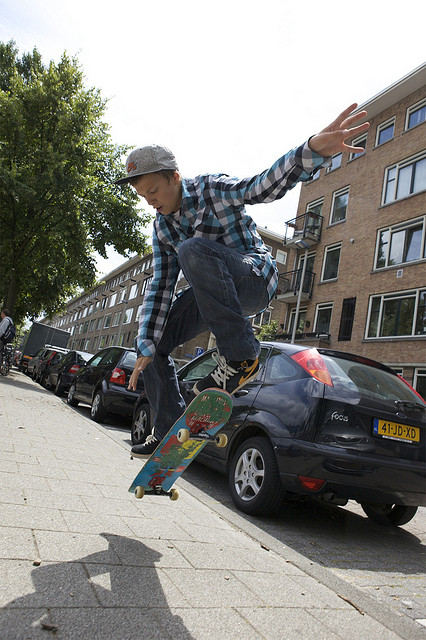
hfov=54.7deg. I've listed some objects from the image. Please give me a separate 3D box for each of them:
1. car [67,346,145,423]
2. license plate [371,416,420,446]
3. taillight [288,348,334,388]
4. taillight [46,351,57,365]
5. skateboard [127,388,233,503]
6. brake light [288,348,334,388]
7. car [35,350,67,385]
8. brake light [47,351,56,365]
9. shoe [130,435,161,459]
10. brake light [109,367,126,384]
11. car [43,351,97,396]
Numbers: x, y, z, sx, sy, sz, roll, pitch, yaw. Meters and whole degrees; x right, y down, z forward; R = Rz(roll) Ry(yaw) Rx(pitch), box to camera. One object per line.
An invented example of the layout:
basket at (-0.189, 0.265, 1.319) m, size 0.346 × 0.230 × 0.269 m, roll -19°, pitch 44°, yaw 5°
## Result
car at (-2.220, 1.410, 9.452) m, size 1.538 × 1.512 × 3.505 m, roll 16°, pitch -11°, yaw -29°
license plate at (1.499, 0.913, 3.385) m, size 0.547 × 0.215 × 0.072 m, roll 25°, pitch -14°, yaw -27°
taillight at (0.851, 0.388, 3.586) m, size 0.207 × 0.241 × 0.301 m, roll -4°, pitch -3°, yaw -33°
taillight at (-6.206, 1.404, 15.850) m, size 0.152 × 0.620 × 0.083 m, roll 31°, pitch -47°, yaw -5°
skateboard at (-0.188, 0.688, 2.228) m, size 0.232 × 0.863 × 0.144 m, roll 32°, pitch 22°, yaw -11°
brake light at (0.878, 0.409, 3.708) m, size 0.169 × 0.173 × 0.668 m, roll 19°, pitch 0°, yaw -16°
car at (-6.147, 1.756, 15.913) m, size 1.252 × 1.152 × 2.621 m, roll -1°, pitch -5°, yaw -27°
brake light at (-6.201, 1.404, 15.877) m, size 0.135 × 0.526 × 0.074 m, roll 7°, pitch -46°, yaw 28°
shoe at (-0.465, 0.778, 2.574) m, size 0.248 × 0.106 × 0.083 m, roll 9°, pitch -12°, yaw 34°
brake light at (-1.786, 1.054, 7.841) m, size 0.296 × 0.220 × 0.184 m, roll 18°, pitch -13°, yaw 3°
car at (-4.383, 1.557, 12.511) m, size 1.252 × 1.181 × 2.804 m, roll 2°, pitch -4°, yaw -28°
